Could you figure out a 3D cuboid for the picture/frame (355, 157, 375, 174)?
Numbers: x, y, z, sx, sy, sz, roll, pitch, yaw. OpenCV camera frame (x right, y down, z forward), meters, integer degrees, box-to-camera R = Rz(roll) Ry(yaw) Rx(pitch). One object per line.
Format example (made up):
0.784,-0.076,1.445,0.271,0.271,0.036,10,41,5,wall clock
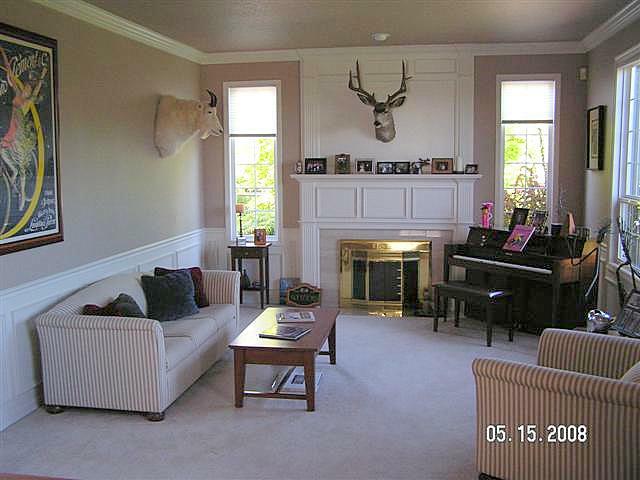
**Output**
0.652,-1.067,7.351,0.357,0.305,0.191,0,8,5,picture/frame

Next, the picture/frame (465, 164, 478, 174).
2.138,-1.007,7.066,0.173,0.126,0.262,3,11,16,picture/frame

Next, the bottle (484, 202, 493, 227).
2.359,-0.339,7.010,0.159,0.350,0.576,3,11,19,bottle

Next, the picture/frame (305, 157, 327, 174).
-0.076,-1.086,7.317,0.381,0.252,0.206,1,7,4,picture/frame

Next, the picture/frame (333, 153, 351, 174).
0.337,-1.128,7.339,0.262,0.293,0.233,0,11,1,picture/frame

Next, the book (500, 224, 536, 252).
2.487,-0.018,6.227,0.084,0.355,0.329,32,-15,-22,book

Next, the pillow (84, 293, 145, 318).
-1.895,0.634,4.672,0.322,0.096,0.304,5,3,-6,pillow

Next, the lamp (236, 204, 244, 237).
-1.228,-0.300,7.618,0.114,0.531,0.484,-2,11,-10,lamp

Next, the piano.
2.563,0.471,6.474,0.885,1.173,1.574,-1,5,-39,piano

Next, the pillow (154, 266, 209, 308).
-1.587,0.553,5.792,0.152,0.499,0.501,-19,-7,33,pillow

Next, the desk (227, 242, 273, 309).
-1.061,0.505,7.567,0.573,0.895,0.453,1,8,7,desk

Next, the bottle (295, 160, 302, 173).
-0.323,-1.094,7.456,0.093,0.181,0.191,-3,11,-11,bottle

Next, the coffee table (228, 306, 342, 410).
-0.303,1.190,5.159,0.884,0.564,1.427,0,4,12,coffee table

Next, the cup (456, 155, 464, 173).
2.004,-1.095,7.127,0.111,0.249,0.251,3,11,15,cup

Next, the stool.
1.929,0.894,6.322,0.503,0.629,0.964,-5,6,-28,stool

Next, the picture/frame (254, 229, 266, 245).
-0.915,-0.045,7.484,0.234,0.296,0.042,0,0,1,picture/frame

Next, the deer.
0.826,-1.951,6.945,0.874,1.163,0.911,1,11,10,deer

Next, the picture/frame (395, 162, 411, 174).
1.194,-1.040,7.235,0.173,0.146,0.024,0,0,-1,picture/frame

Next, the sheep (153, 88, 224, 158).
-1.684,-1.530,6.523,0.798,0.897,0.665,2,0,6,sheep

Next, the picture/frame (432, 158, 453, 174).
1.754,-1.049,7.118,0.239,0.199,0.019,1,0,6,picture/frame
